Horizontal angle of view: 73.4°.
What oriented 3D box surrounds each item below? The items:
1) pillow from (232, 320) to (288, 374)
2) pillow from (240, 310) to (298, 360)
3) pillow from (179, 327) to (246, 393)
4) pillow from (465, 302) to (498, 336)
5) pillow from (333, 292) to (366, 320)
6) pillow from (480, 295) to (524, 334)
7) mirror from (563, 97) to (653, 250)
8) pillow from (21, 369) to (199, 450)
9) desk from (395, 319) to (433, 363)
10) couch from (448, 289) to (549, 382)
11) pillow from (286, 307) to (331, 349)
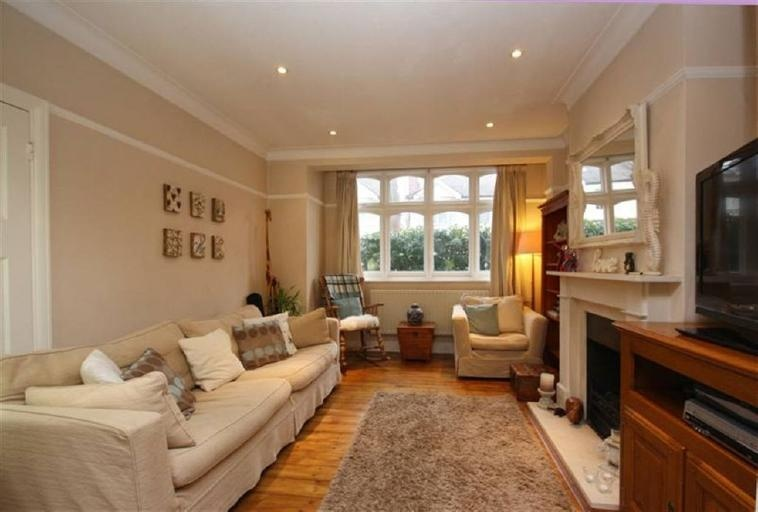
[{"bbox_3d":[-1.131,0.829,4.863,0.498,0.421,0.147,-5,-29,-44],"label":"pillow"},{"bbox_3d":[-1.167,0.845,4.930,0.636,0.474,0.171,1,-20,-45],"label":"pillow"},{"bbox_3d":[-1.446,0.947,4.456,0.339,0.535,0.625,-6,0,10],"label":"pillow"},{"bbox_3d":[1.249,0.792,6.187,0.346,0.354,0.141,-3,-17,5],"label":"pillow"},{"bbox_3d":[-0.414,0.666,6.708,0.350,0.234,0.121,-1,-34,-31],"label":"pillow"},{"bbox_3d":[1.604,0.729,6.245,0.423,0.422,0.172,0,-8,11],"label":"pillow"},{"bbox_3d":[1.887,-0.481,4.154,0.156,0.797,1.127,-5,4,42],"label":"mirror"},{"bbox_3d":[-1.722,1.055,3.279,0.954,0.496,0.210,-6,0,-7],"label":"pillow"},{"bbox_3d":[0.501,1.145,6.742,0.472,0.521,0.439,-6,-1,3],"label":"desk"},{"bbox_3d":[1.391,0.952,5.956,1.006,0.949,0.964,-1,-14,10],"label":"couch"},{"bbox_3d":[-0.749,0.783,5.369,0.406,0.395,0.172,-6,-16,-20],"label":"pillow"}]
